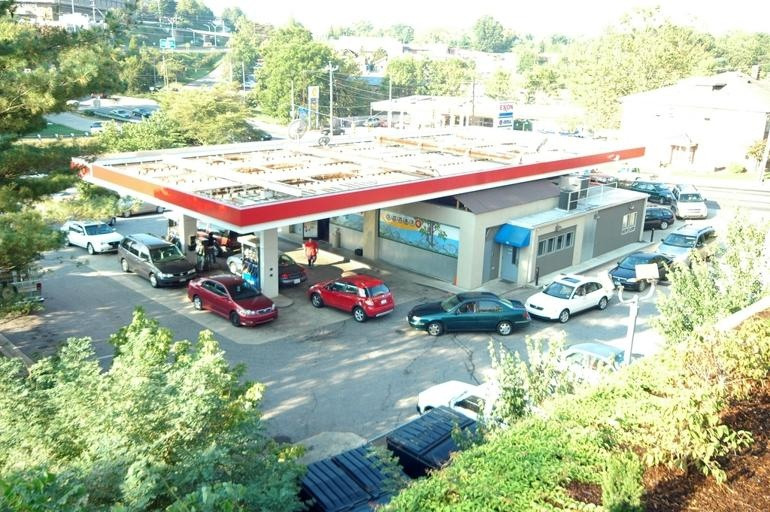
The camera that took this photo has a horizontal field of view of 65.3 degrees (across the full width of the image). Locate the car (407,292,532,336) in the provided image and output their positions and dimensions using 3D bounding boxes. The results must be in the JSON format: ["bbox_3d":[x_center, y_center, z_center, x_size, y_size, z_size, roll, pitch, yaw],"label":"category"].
[{"bbox_3d":[3.235,2.207,23.576,4.264,1.256,1.887,2,12,-3],"label":"car"}]

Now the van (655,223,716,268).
[{"bbox_3d":[14.012,-0.478,28.018,3.693,1.419,1.664,-15,18,-37],"label":"van"}]

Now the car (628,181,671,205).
[{"bbox_3d":[17.371,-4.139,39.484,3.273,1.290,1.775,11,25,36],"label":"car"}]

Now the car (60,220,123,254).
[{"bbox_3d":[-14.864,-0.930,30.306,2.966,1.020,1.268,13,20,37],"label":"car"}]

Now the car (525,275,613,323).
[{"bbox_3d":[7.718,1.818,25.050,3.741,1.239,1.700,-12,19,-33],"label":"car"}]

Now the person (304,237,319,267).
[{"bbox_3d":[-3.633,-0.170,29.790,0.455,1.189,0.801,-7,20,-17],"label":"person"}]

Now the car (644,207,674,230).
[{"bbox_3d":[16.880,-2.321,37.093,2.698,0.926,1.170,-3,16,-27],"label":"car"}]

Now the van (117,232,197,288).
[{"bbox_3d":[-10.518,0.210,27.777,3.978,1.710,1.670,16,25,40],"label":"van"}]

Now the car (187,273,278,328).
[{"bbox_3d":[-6.101,1.834,24.173,3.820,1.221,1.637,16,22,39],"label":"car"}]

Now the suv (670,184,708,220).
[{"bbox_3d":[20.110,-3.643,40.037,1.705,1.421,2.976,2,17,18],"label":"suv"}]

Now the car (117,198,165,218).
[{"bbox_3d":[-14.085,-2.790,34.338,2.153,0.713,0.974,-9,23,-27],"label":"car"}]

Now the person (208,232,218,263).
[{"bbox_3d":[-8.514,-0.379,29.718,0.477,1.606,0.636,-6,45,-17],"label":"person"}]
